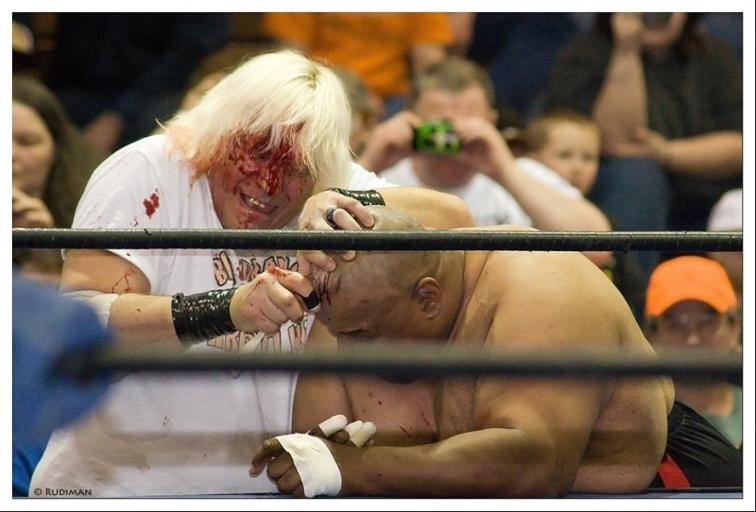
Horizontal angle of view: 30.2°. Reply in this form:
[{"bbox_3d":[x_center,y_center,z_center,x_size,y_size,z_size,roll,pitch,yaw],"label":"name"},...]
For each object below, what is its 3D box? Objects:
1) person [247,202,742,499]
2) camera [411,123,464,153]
[{"bbox_3d":[0.450,0.525,6.107,1.945,1.040,1.008,-1,-8,-18],"label":"person"},{"bbox_3d":[0.334,-0.593,7.008,0.276,0.169,0.143,3,4,25],"label":"camera"}]
